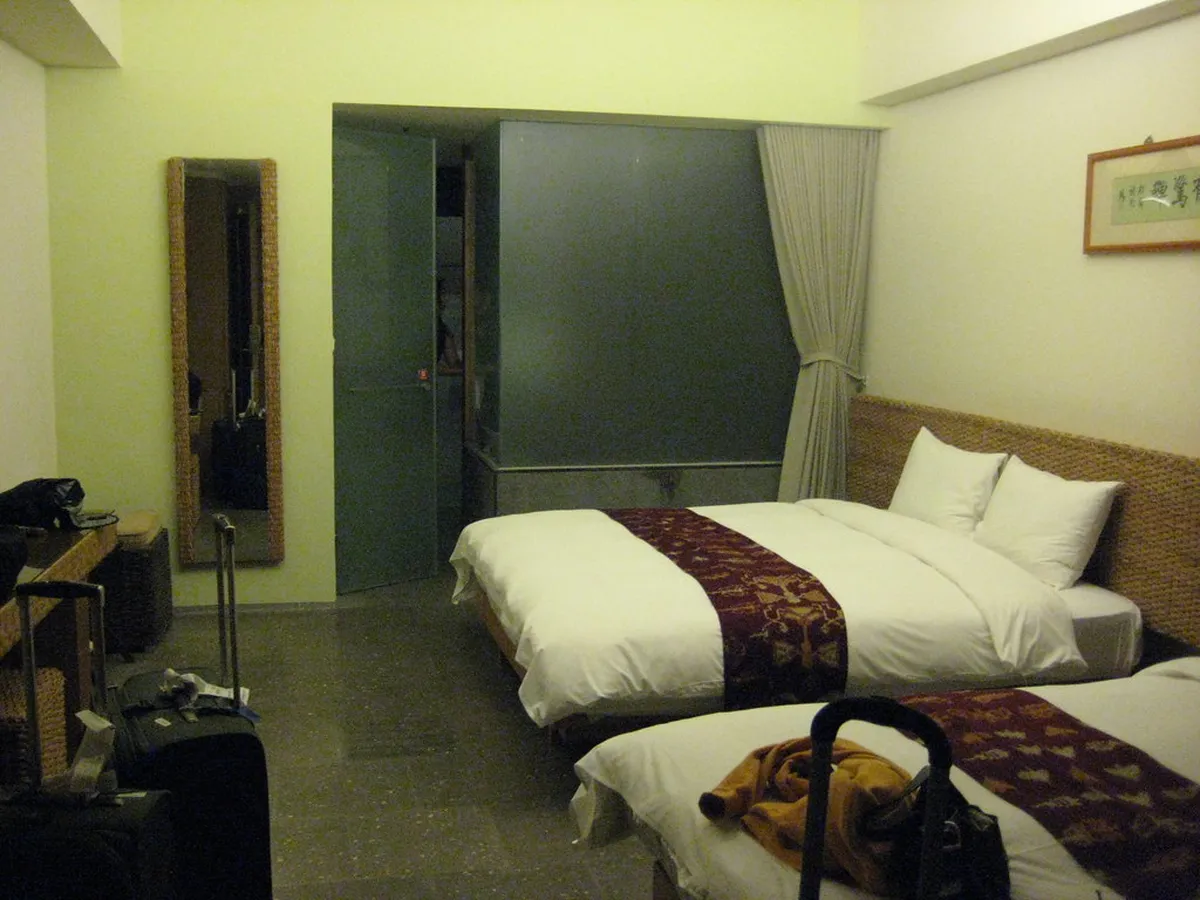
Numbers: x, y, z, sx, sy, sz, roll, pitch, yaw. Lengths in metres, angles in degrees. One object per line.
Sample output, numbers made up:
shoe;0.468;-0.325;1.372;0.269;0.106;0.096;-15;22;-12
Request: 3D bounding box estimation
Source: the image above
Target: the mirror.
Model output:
mirror;-2.049;-0.619;5.185;0.630;1.948;0.074;2;6;7
